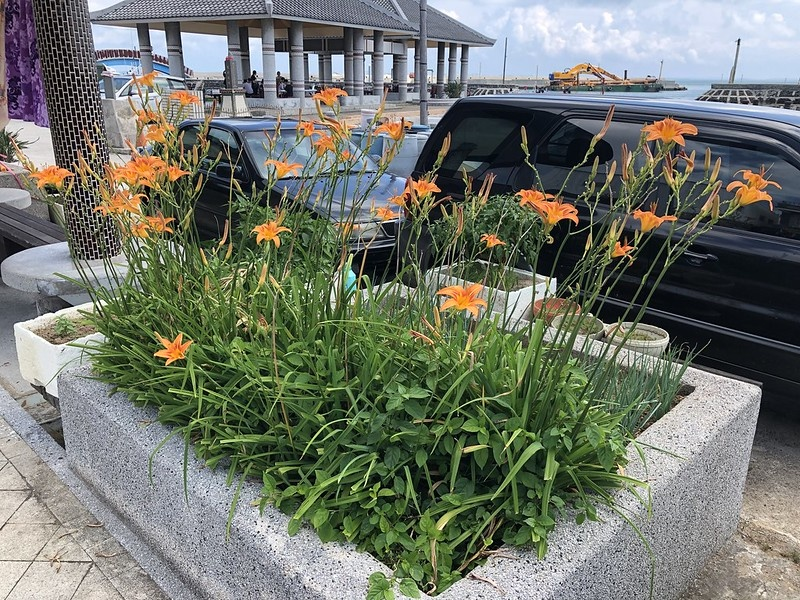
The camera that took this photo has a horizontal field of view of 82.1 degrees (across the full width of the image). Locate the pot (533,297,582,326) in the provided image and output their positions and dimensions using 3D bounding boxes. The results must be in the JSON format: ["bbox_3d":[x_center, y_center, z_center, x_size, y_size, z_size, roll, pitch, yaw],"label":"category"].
[{"bbox_3d":[0.842,0.069,2.454,0.172,0.078,0.184,-3,11,1],"label":"pot"}]

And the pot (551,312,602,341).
[{"bbox_3d":[1.037,0.166,2.699,0.170,0.080,0.180,-1,12,0],"label":"pot"}]

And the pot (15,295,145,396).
[{"bbox_3d":[-2.084,0.328,3.019,0.416,0.392,0.624,27,38,26],"label":"pot"}]

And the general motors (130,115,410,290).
[{"bbox_3d":[-1.338,-1.304,5.078,3.677,1.702,1.880,19,28,34],"label":"general motors"}]
